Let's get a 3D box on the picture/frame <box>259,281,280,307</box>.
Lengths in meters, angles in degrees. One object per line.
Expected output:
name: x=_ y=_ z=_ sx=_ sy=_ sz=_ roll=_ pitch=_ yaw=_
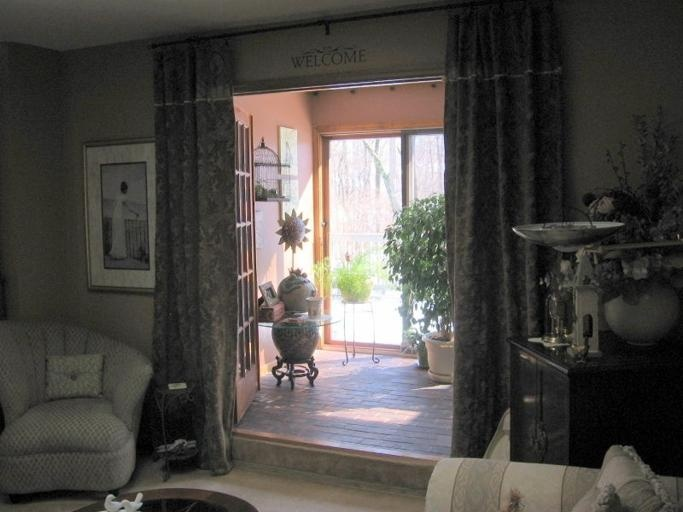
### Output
picture/frame: x=-0.751 y=0.394 z=6.150 sx=0.083 sy=0.166 sz=0.223 roll=-13 pitch=0 yaw=15

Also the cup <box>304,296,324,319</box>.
cup: x=-0.279 y=0.507 z=5.976 sx=0.176 sy=0.195 sz=0.186 roll=-1 pitch=-4 yaw=0

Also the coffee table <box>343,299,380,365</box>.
coffee table: x=0.199 y=0.905 z=7.358 sx=0.568 sy=0.771 sz=0.548 roll=-5 pitch=7 yaw=-19

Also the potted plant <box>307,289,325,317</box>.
potted plant: x=-0.272 y=0.479 z=5.988 sx=0.223 sy=0.273 sz=0.202 roll=0 pitch=-7 yaw=-4

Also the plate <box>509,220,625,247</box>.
plate: x=1.202 y=-0.117 z=3.171 sx=0.279 sy=0.079 sz=0.288 roll=0 pitch=-3 yaw=-4

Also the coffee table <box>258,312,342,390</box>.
coffee table: x=-0.451 y=0.919 z=6.110 sx=0.748 sy=0.610 sz=0.764 roll=-1 pitch=1 yaw=18

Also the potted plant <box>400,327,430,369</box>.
potted plant: x=0.822 y=1.052 z=6.879 sx=0.364 sy=0.391 sz=0.378 roll=-3 pitch=0 yaw=-14

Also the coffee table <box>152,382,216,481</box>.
coffee table: x=-1.341 y=1.379 z=4.865 sx=0.355 sy=0.687 sz=0.379 roll=-2 pitch=3 yaw=-28

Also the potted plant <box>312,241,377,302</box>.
potted plant: x=0.068 y=0.250 z=7.340 sx=0.539 sy=0.581 sz=0.778 roll=-2 pitch=3 yaw=-37

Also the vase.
vase: x=1.725 y=0.319 z=3.509 sx=0.352 sy=0.302 sz=0.364 roll=-1 pitch=-2 yaw=-2
